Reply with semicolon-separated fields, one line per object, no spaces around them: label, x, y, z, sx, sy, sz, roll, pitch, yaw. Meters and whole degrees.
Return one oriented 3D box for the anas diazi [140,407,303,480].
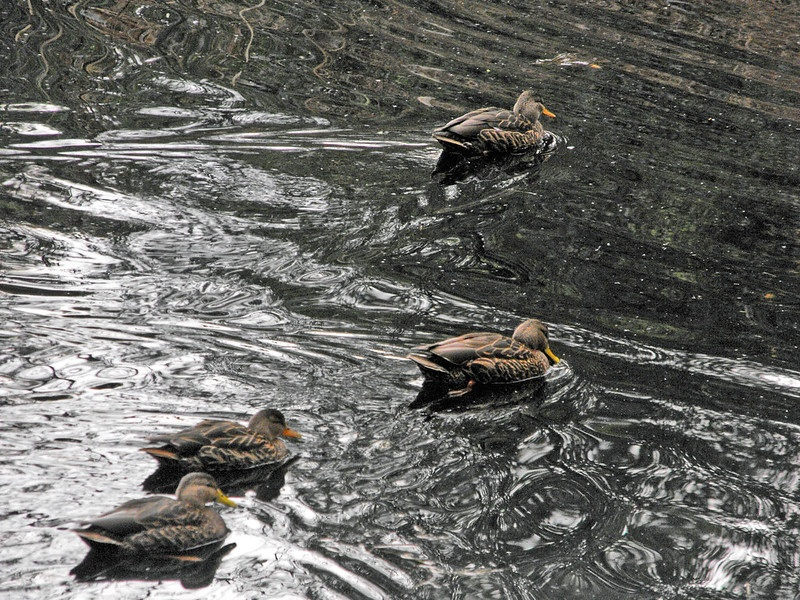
anas diazi;-1.962;1.512;10.497;1.749;0.385;0.659;-1;16;-33
